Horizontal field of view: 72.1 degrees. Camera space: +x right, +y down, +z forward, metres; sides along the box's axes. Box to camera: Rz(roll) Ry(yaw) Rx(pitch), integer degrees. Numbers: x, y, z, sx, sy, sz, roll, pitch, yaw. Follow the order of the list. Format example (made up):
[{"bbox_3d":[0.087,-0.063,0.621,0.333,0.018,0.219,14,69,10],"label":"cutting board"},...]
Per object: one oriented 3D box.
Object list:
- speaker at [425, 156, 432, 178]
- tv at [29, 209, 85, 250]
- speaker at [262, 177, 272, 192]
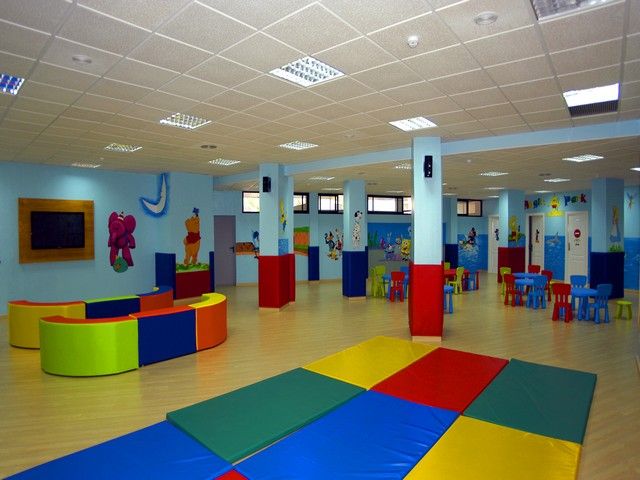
[{"bbox_3d":[2.228,-1.528,8.970,0.199,0.458,0.166,-1,6,-8],"label":"speaker"},{"bbox_3d":[-7.092,-0.320,11.771,1.037,0.965,0.104,-2,4,-42],"label":"tv"},{"bbox_3d":[-1.400,-1.513,11.867,0.269,0.400,0.293,-2,7,-17],"label":"speaker"}]
